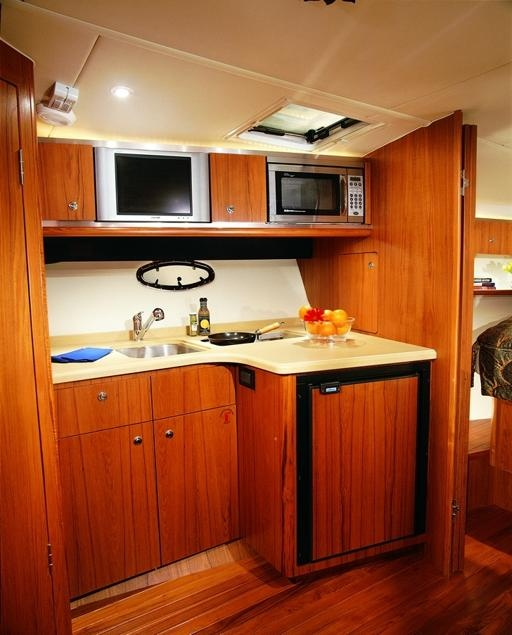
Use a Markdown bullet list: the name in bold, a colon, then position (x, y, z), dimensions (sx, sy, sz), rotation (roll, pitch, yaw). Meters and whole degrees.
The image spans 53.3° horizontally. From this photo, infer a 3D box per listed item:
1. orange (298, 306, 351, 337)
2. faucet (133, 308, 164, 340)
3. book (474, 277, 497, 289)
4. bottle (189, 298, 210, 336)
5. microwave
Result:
- **orange**: position (0.316, 0.031, 2.387), dimensions (0.278, 0.144, 0.173), rotation (2, 9, 19)
- **faucet**: position (-0.543, 0.034, 2.584), dimensions (0.162, 0.165, 0.207), rotation (-3, 9, -11)
- **book**: position (1.639, -0.243, 3.695), dimensions (0.125, 0.074, 0.398), rotation (4, 10, 31)
- **bottle**: position (-0.290, -0.007, 2.743), dimensions (0.100, 0.195, 0.158), rotation (3, 10, 25)
- **microwave**: position (0.269, -0.602, 2.449), dimensions (0.487, 0.281, 0.296), rotation (-2, 5, -18)
